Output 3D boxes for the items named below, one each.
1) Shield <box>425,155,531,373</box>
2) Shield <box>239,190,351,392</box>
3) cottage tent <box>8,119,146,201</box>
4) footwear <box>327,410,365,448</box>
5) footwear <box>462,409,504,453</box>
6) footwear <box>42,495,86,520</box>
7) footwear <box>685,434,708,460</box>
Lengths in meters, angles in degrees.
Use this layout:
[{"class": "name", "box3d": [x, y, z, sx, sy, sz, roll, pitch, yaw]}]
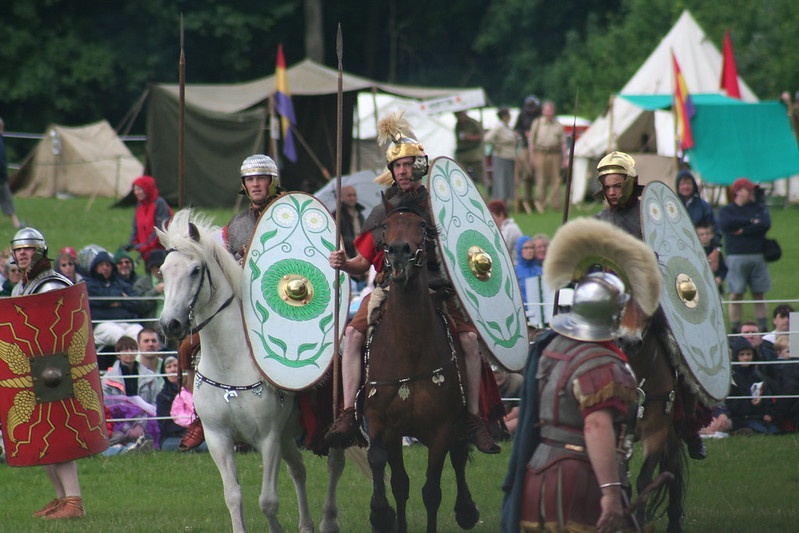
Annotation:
[{"class": "Shield", "box3d": [1.312, 0.085, 42.456, 1.957, 3.437, 1.521, 1, 0, 2]}, {"class": "Shield", "box3d": [-1.769, 0.527, 42.321, 1.875, 3.068, 1.800, 0, 0, -1]}, {"class": "cottage tent", "box3d": [-6.759, -2.033, 51.988, 2.131, 0.912, 2.026, 0, -3, 4]}, {"class": "footwear", "box3d": [-0.885, 2.828, 41.363, 0.549, 0.637, 0.329, 1, -43, -2]}, {"class": "footwear", "box3d": [1.365, 2.883, 41.370, 0.329, 0.418, 0.986, -8, 11, -37]}, {"class": "footwear", "box3d": [-5.784, 4.155, 42.023, 0.879, 0.320, 0.280, 1, -5, -3]}, {"class": "footwear", "box3d": [4.957, 3.115, 42.132, 0.213, 0.424, 0.644, -1, 2, 42]}]
